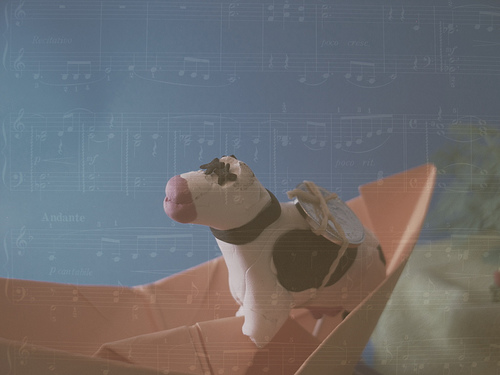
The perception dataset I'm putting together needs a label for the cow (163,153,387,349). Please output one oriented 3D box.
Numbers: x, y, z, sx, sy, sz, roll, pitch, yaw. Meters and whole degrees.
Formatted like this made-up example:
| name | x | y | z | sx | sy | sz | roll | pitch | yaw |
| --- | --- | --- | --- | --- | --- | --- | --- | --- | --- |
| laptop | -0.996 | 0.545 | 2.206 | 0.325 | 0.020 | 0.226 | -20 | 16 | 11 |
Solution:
| name | x | y | z | sx | sy | sz | roll | pitch | yaw |
| --- | --- | --- | --- | --- | --- | --- | --- | --- | --- |
| cow | 0.187 | 0.237 | 4.813 | 0.997 | 0.728 | 0.527 | 4 | 28 | 6 |
